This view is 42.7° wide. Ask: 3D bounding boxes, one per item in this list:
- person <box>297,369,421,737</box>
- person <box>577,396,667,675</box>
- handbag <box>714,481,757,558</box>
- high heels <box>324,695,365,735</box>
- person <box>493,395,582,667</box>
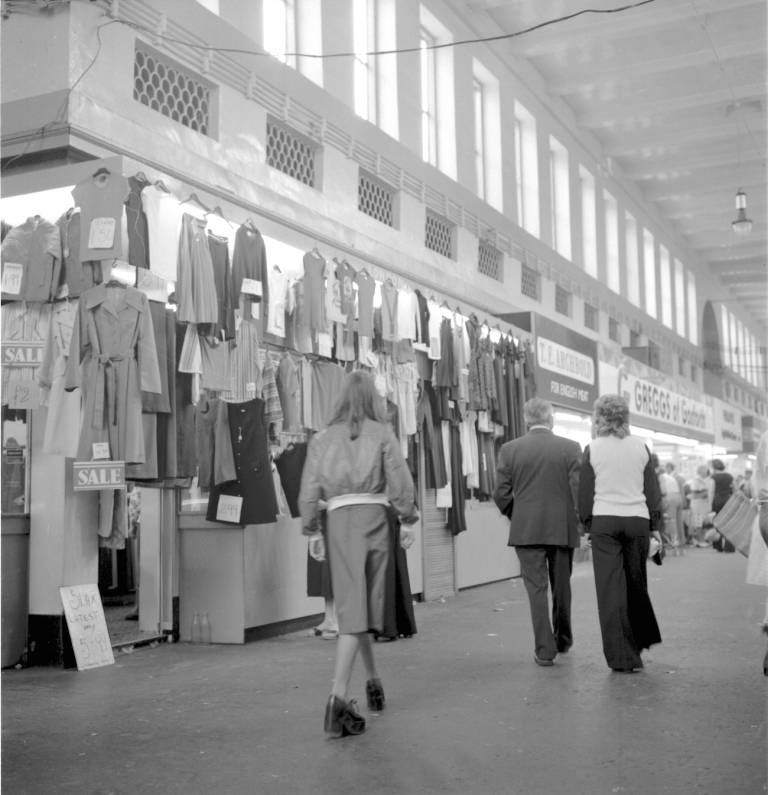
[{"bbox_3d":[-0.076,0.658,4.469,0.488,1.581,0.749,-4,-6,31],"label":"person"},{"bbox_3d":[1.336,0.757,5.548,0.457,1.548,0.291,-3,-5,18],"label":"person"},{"bbox_3d":[2.135,0.762,5.975,0.240,0.401,0.688,-3,-6,19],"label":"handbag"},{"bbox_3d":[-0.165,1.349,4.151,0.077,0.173,0.244,-1,-11,25],"label":"high heels"},{"bbox_3d":[0.957,0.787,6.012,0.547,1.611,0.606,-1,-5,3],"label":"person"}]
